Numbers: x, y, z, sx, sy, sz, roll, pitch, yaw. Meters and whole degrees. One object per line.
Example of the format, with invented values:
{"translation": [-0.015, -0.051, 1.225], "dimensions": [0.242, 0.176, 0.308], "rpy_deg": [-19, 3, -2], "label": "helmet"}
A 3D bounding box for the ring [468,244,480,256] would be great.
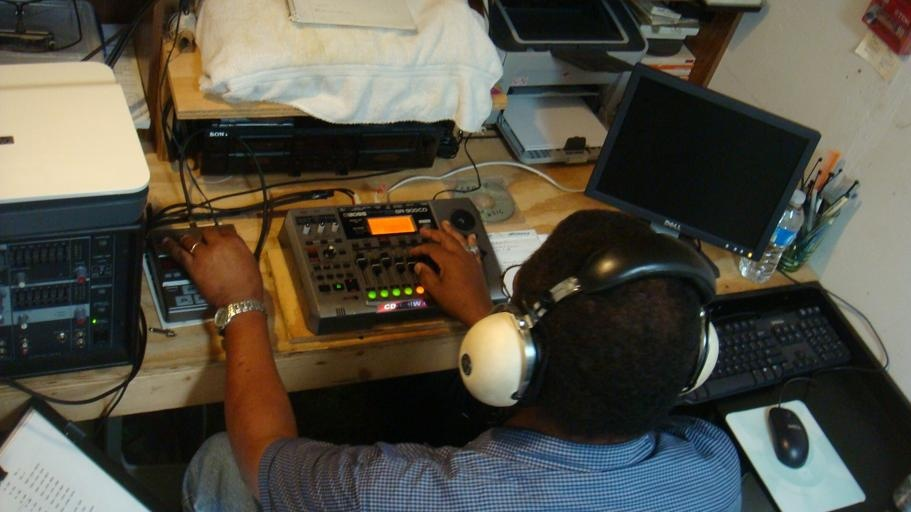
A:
{"translation": [0.058, -0.018, 2.037], "dimensions": [0.024, 0.010, 0.033], "rpy_deg": [16, 22, -29], "label": "ring"}

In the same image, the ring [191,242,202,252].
{"translation": [-0.705, -0.024, 1.852], "dimensions": [0.011, 0.023, 0.029], "rpy_deg": [38, 66, -16], "label": "ring"}

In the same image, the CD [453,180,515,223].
{"translation": [0.098, -0.176, 2.277], "dimensions": [0.171, 0.055, 0.166], "rpy_deg": [-17, 55, -37], "label": "CD"}

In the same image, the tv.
{"translation": [0.801, -0.254, 2.145], "dimensions": [0.675, 0.473, 0.142], "rpy_deg": [26, 20, -4], "label": "tv"}
